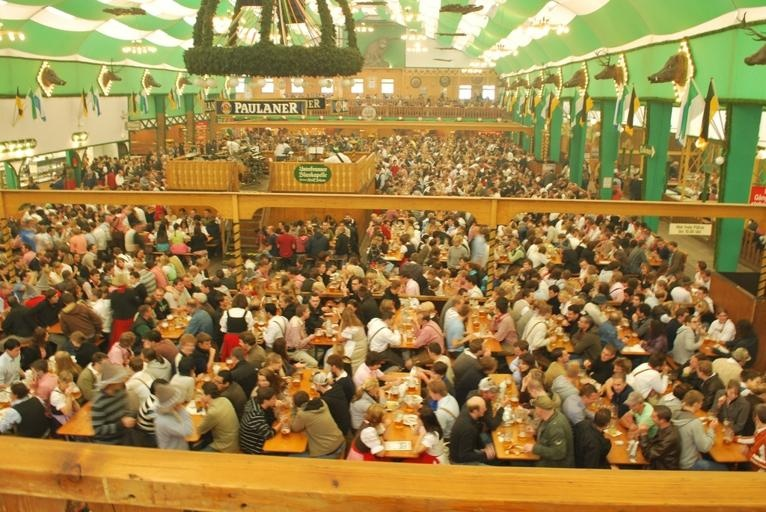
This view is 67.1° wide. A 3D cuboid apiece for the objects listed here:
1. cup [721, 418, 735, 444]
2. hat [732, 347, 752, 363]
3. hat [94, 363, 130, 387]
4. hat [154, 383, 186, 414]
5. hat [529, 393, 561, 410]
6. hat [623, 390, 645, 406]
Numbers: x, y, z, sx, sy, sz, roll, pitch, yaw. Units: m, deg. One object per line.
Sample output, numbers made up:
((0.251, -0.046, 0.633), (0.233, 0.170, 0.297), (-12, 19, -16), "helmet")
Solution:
((5.001, 2.534, 8.359), (0.113, 0.310, 0.182), (-41, 17, -32), "cup")
((6.031, 1.664, 9.669), (0.213, 0.264, 0.688), (-7, -12, 33), "hat")
((-3.478, 1.529, 7.428), (0.329, 0.335, 0.686), (5, -11, -26), "hat")
((-2.907, 1.926, 7.852), (0.441, 0.374, 0.325), (9, -14, -43), "hat")
((2.248, 2.005, 7.836), (0.343, 0.122, 0.254), (-1, 8, 12), "hat")
((3.676, 2.080, 8.378), (0.208, 0.226, 0.287), (-7, -12, 33), "hat")
